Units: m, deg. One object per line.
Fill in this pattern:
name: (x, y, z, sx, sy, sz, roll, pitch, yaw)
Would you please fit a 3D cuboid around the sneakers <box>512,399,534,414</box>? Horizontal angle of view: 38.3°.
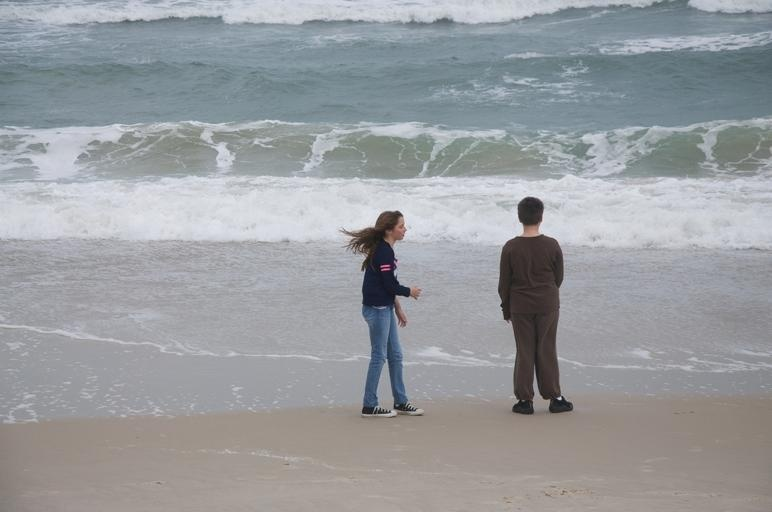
sneakers: (2.496, 2.757, 20.288, 0.476, 0.189, 0.198, 4, 8, 23)
